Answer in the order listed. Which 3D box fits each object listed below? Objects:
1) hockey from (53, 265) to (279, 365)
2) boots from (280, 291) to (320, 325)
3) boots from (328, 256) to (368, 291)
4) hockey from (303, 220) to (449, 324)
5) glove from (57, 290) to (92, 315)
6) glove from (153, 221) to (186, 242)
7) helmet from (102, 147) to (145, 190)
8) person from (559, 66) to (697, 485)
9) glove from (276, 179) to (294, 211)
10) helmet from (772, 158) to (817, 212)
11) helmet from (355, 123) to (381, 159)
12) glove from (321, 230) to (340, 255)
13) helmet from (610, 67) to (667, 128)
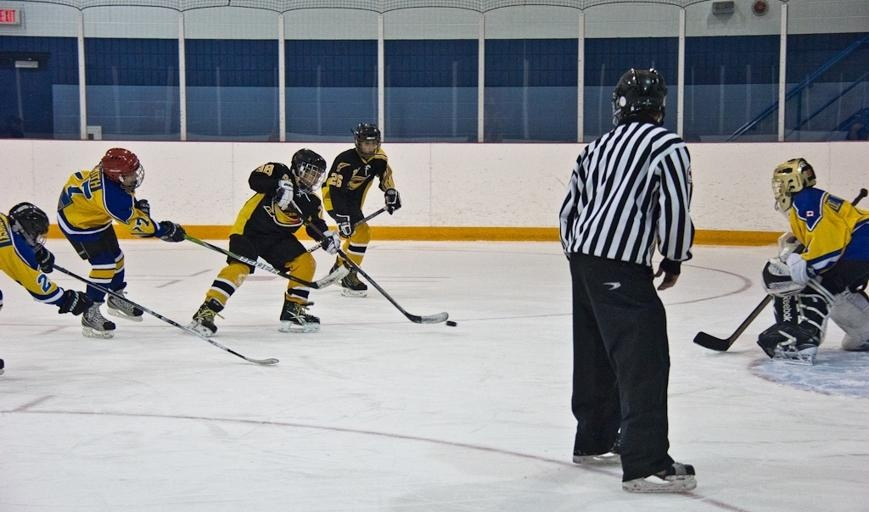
[{"bbox_3d":[-2.230,0.511,8.541,2.493,0.152,0.290,12,48,15],"label":"hockey"},{"bbox_3d":[-1.073,0.462,8.537,0.439,0.220,0.152,1,9,30],"label":"boots"},{"bbox_3d":[-0.810,0.168,9.725,0.394,0.234,0.126,31,49,15],"label":"boots"},{"bbox_3d":[-0.587,0.181,10.166,2.022,0.255,0.226,27,59,29],"label":"hockey"},{"bbox_3d":[-2.653,0.341,7.556,0.191,0.080,0.249,8,-22,-36],"label":"glove"},{"bbox_3d":[-2.166,-0.203,8.400,0.247,0.180,0.299,-1,7,-13],"label":"glove"},{"bbox_3d":[-2.508,-0.663,8.257,0.336,0.233,0.219,9,14,8],"label":"helmet"},{"bbox_3d":[1.197,0.304,6.296,0.869,2.230,0.395,8,11,39],"label":"person"},{"bbox_3d":[-1.247,-0.503,8.362,0.103,0.202,0.184,13,9,39],"label":"glove"},{"bbox_3d":[2.798,-0.563,7.868,0.373,0.319,0.295,-10,7,33],"label":"helmet"},{"bbox_3d":[-0.660,-1.137,9.902,0.314,0.268,0.312,0,21,-22],"label":"helmet"},{"bbox_3d":[-0.925,-0.138,8.859,0.109,0.139,0.197,-21,37,3],"label":"glove"},{"bbox_3d":[1.289,-0.949,6.420,0.364,0.299,0.384,-4,-12,-1],"label":"helmet"}]
